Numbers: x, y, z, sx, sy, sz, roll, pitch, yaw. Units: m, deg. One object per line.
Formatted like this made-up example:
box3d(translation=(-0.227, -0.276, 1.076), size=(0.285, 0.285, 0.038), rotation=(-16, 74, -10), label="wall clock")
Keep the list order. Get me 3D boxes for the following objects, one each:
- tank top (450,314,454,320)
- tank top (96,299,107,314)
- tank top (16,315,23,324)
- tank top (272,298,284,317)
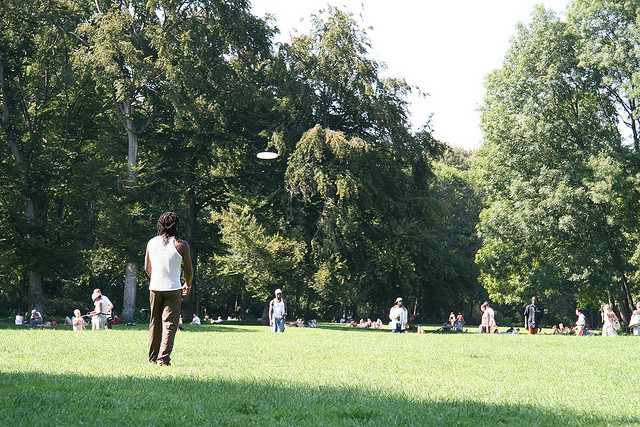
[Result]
box3d(translation=(10.986, 8.799, 84.984), size=(0.148, 0.325, 0.497), rotation=(3, 10, 8), label="tank top")
box3d(translation=(-13.845, 6.014, 64.686), size=(0.859, 1.210, 0.663), rotation=(4, -10, -24), label="tank top")
box3d(translation=(-20.818, 7.404, 70.001), size=(0.430, 0.602, 0.069), rotation=(-3, -30, -8), label="tank top")
box3d(translation=(-2.739, 6.100, 65.250), size=(1.091, 1.616, 0.887), rotation=(2, -7, -3), label="tank top")
